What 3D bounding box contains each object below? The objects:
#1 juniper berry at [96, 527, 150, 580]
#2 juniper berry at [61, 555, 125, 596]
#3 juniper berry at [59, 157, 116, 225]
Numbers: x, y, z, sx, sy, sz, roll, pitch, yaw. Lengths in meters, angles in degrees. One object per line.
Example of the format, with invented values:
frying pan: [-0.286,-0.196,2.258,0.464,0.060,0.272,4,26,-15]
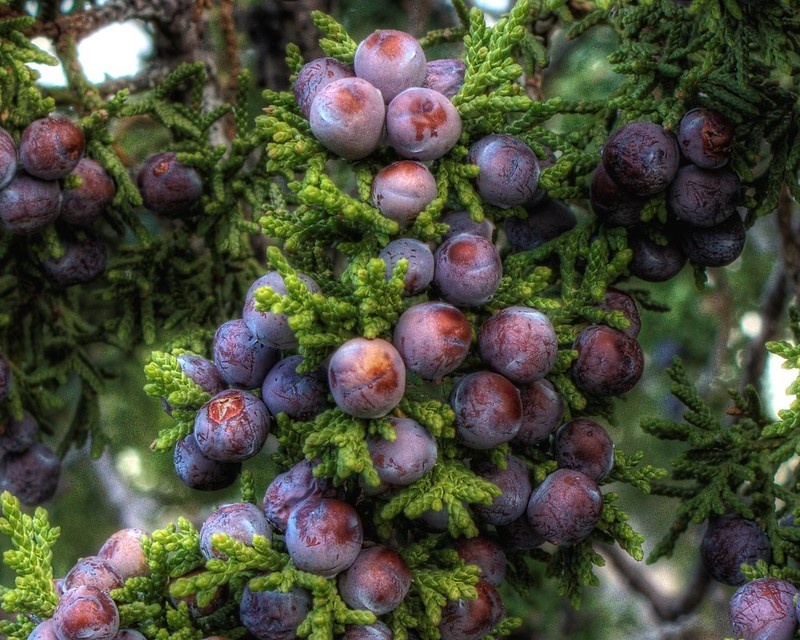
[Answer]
juniper berry: [-0.754,0.648,2.690,0.123,0.140,0.167,0,41,-1]
juniper berry: [-0.828,0.700,2.584,0.108,0.065,0.096,27,102,-5]
juniper berry: [-0.964,-0.392,2.977,0.102,0.179,0.158,-3,69,-51]
